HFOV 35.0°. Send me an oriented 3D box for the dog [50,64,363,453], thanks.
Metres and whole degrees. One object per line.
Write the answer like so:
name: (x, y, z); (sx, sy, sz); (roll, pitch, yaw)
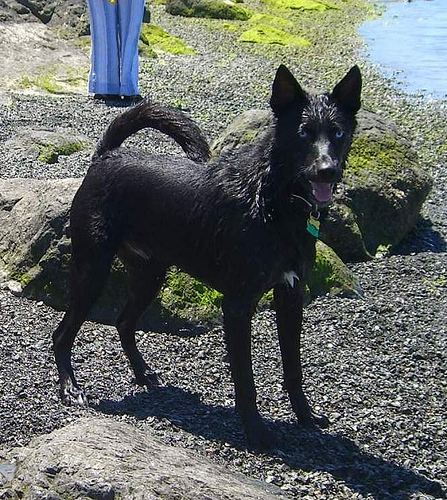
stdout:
dog: (-0.066, -0.034, 4.661); (1.977, 2.428, 1.131); (15, 29, 16)
